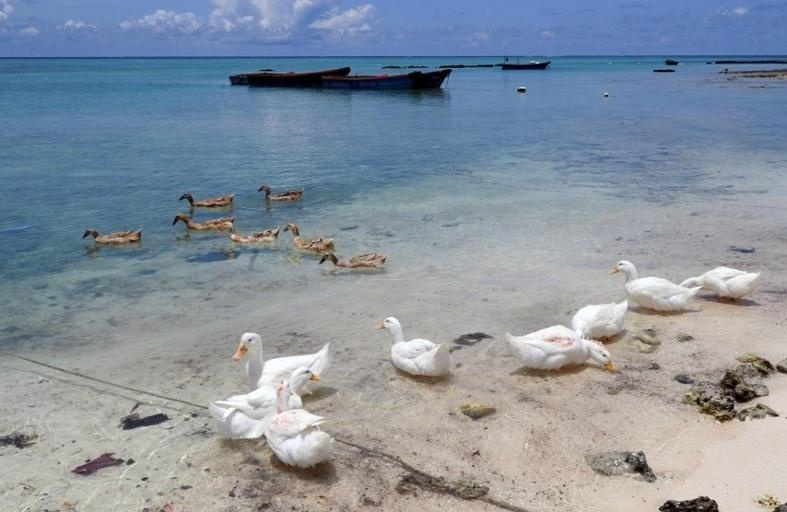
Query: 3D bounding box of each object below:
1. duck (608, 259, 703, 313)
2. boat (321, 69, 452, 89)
[{"bbox_3d":[8.252,1.057,17.254,2.219,1.539,0.884,5,27,21],"label":"duck"},{"bbox_3d":[-1.258,-29.564,93.764,20.190,3.007,6.139,-1,20,4],"label":"boat"}]
